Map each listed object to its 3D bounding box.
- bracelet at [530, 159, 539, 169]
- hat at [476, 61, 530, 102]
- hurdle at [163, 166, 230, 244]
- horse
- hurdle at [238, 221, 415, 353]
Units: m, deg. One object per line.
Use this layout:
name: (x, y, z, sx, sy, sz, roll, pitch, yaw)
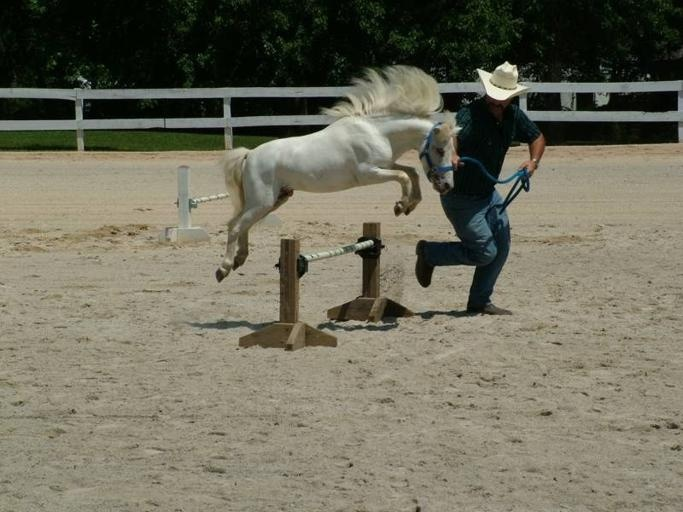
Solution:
bracelet: (1.904, -0.920, 11.587, 0.085, 0.085, 0.044, 2, 2, -9)
hat: (1.574, -1.699, 11.431, 0.455, 0.358, 0.484, 0, 9, 2)
hurdle: (-1.745, -0.743, 15.597, 0.404, 0.917, 1.592, 9, 11, 28)
horse: (-0.042, -0.822, 11.900, 3.015, 1.775, 0.697, -7, 10, 32)
hurdle: (-0.122, 0.268, 11.444, 0.712, 1.067, 1.692, 8, 12, 41)
